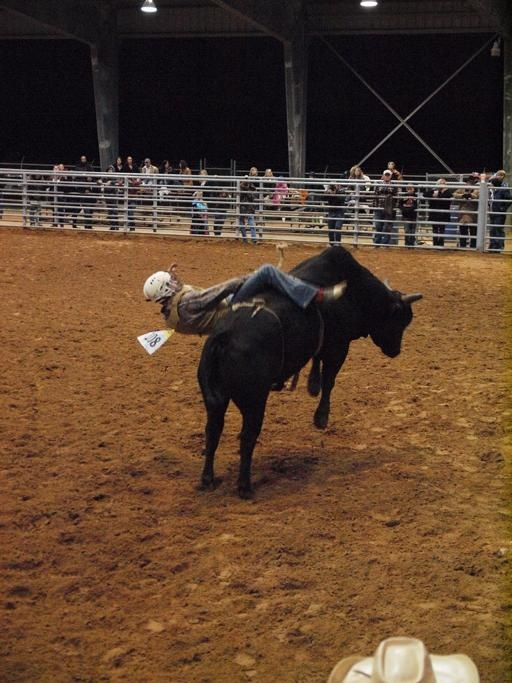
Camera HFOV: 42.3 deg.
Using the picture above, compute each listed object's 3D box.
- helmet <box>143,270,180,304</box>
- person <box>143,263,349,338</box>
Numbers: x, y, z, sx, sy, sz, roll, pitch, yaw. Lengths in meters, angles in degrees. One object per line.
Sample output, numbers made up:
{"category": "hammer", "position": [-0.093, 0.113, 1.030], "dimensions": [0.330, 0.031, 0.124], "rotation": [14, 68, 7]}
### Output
{"category": "helmet", "position": [-0.634, -0.348, 4.225], "dimensions": [0.191, 0.156, 0.223], "rotation": [22, -46, -39]}
{"category": "person", "position": [-0.161, -0.295, 4.358], "dimensions": [1.423, 0.542, 0.478], "rotation": [-4, 8, -7]}
